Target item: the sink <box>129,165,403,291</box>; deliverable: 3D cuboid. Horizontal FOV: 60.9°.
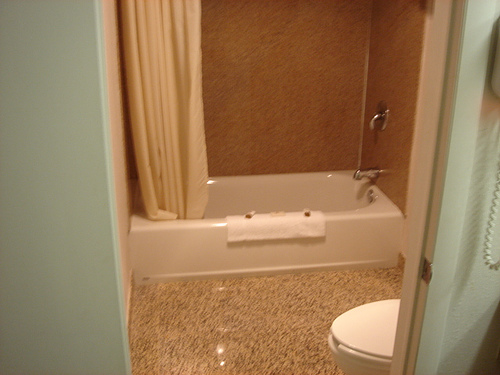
[{"bbox_3d":[0.088,0.150,3.104,1.857,0.639,0.906,-2,22,-6],"label":"sink"}]
